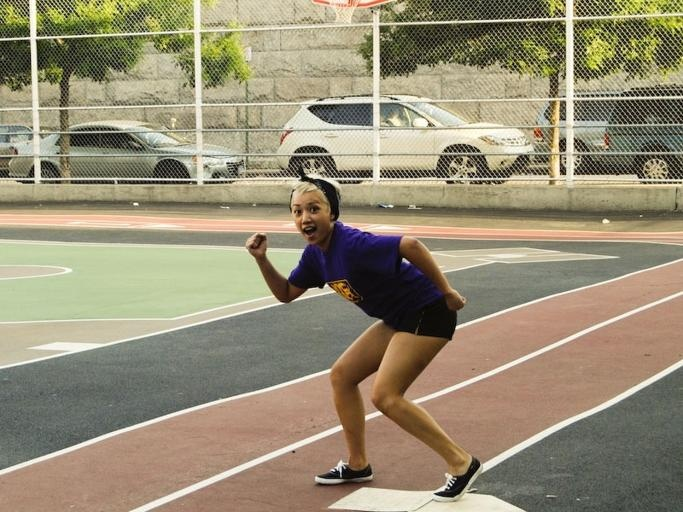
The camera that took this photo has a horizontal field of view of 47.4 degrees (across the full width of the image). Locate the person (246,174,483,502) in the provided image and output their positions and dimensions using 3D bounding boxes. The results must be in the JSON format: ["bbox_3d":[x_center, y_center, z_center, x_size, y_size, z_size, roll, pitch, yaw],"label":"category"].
[{"bbox_3d":[0.180,0.460,4.461,1.230,1.874,0.565,7,14,36],"label":"person"}]

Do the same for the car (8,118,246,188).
[{"bbox_3d":[-6.282,-2.835,22.283,6.520,1.667,2.557,-1,7,6],"label":"car"}]

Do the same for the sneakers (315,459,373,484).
[{"bbox_3d":[0.023,1.312,4.696,0.365,0.125,0.124,1,-6,-3],"label":"sneakers"}]

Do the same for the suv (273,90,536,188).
[{"bbox_3d":[1.683,-2.970,20.372,7.074,2.248,3.074,-1,7,9],"label":"suv"}]
